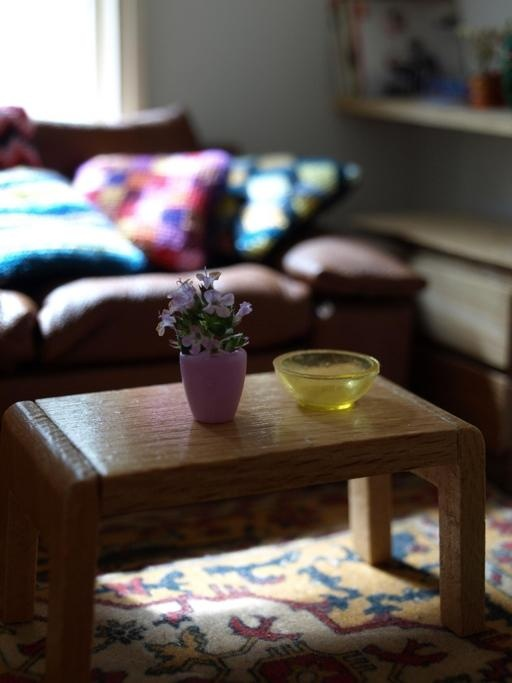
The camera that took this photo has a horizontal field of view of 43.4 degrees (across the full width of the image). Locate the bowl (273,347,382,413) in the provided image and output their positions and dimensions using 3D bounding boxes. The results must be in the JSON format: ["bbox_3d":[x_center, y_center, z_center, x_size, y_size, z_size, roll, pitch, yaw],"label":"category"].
[{"bbox_3d":[0.092,0.040,0.887,0.109,0.043,0.105,0,10,0],"label":"bowl"}]

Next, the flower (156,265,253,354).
[{"bbox_3d":[-0.061,-0.038,0.802,0.108,0.115,0.102,4,30,8],"label":"flower"}]

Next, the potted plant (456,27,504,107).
[{"bbox_3d":[0.498,-0.603,1.418,0.110,0.161,0.104,5,31,11],"label":"potted plant"}]
